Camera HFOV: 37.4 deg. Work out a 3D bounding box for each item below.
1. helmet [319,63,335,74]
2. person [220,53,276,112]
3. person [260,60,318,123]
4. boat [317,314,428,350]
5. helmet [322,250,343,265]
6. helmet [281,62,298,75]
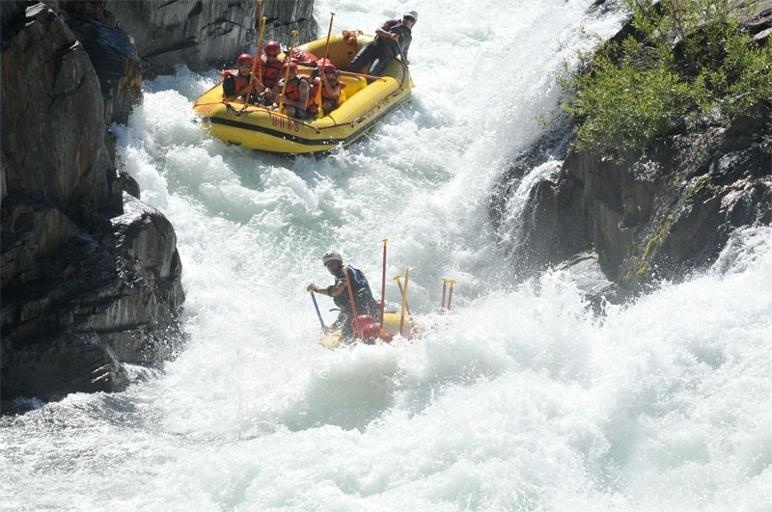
[{"bbox_3d":[-1.217,-3.894,23.849,0.214,0.268,0.249,-20,18,-31],"label":"helmet"},{"bbox_3d":[-2.765,-3.542,22.922,1.099,1.166,0.690,-16,50,-26],"label":"person"},{"bbox_3d":[-1.831,-3.285,23.306,0.886,1.186,0.933,-12,21,-27],"label":"person"},{"bbox_3d":[-0.234,1.228,18.457,1.203,0.348,0.739,-5,32,0],"label":"boat"},{"bbox_3d":[-0.880,0.014,18.747,0.209,0.243,0.200,-15,75,-55],"label":"helmet"},{"bbox_3d":[-1.933,-3.789,23.087,0.227,0.281,0.295,8,59,3],"label":"helmet"}]
